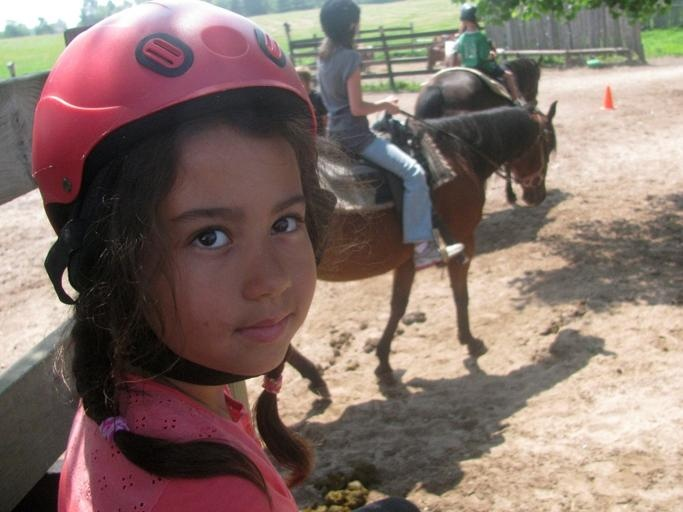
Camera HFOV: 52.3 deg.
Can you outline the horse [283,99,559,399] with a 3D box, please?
[{"bbox_3d":[0.329,-0.076,4.473,2.622,1.674,0.635,-11,18,-28],"label":"horse"}]
